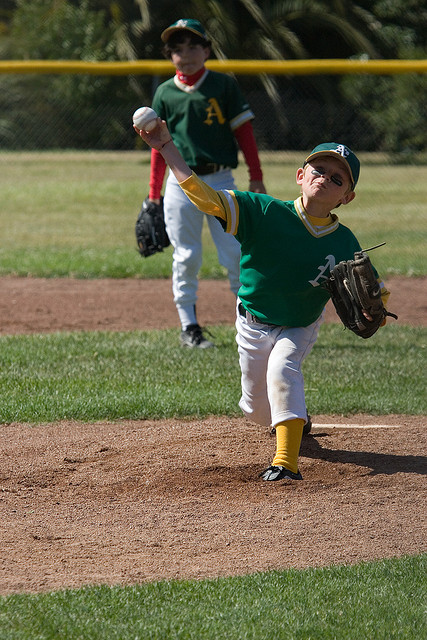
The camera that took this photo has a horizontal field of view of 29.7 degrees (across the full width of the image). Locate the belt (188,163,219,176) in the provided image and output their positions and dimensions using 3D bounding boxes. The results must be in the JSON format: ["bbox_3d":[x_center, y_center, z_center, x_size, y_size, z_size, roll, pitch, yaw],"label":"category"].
[{"bbox_3d":[-0.048,-0.913,4.890,0.164,0.034,0.159,4,9,34],"label":"belt"}]

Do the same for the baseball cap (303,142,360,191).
[{"bbox_3d":[0.448,-0.576,3.039,0.204,0.173,0.260,4,14,5],"label":"baseball cap"}]

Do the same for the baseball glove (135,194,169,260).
[{"bbox_3d":[-0.387,-0.569,5.007,0.156,0.336,0.277,-6,5,-7],"label":"baseball glove"}]

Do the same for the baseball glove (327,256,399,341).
[{"bbox_3d":[0.544,-0.077,2.986,0.159,0.313,0.234,-31,33,-20],"label":"baseball glove"}]

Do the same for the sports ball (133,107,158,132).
[{"bbox_3d":[-0.231,-0.688,2.759,0.089,0.074,0.081,0,-6,-2],"label":"sports ball"}]

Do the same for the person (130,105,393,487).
[{"bbox_3d":[0.232,-0.085,3.019,0.718,1.281,0.615,12,17,30],"label":"person"}]
